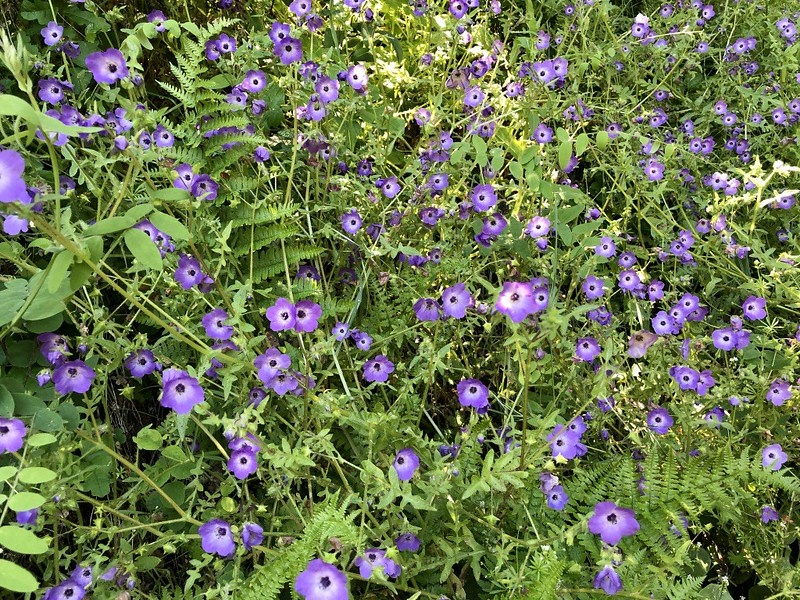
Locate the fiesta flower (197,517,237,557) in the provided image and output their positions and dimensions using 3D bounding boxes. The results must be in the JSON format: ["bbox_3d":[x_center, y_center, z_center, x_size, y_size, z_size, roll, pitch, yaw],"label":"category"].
[{"bbox_3d":[-0.715,0.937,2.776,0.145,0.169,0.103,16,45,-10],"label":"fiesta flower"}]

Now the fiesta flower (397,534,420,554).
[{"bbox_3d":[0.036,1.011,2.966,0.074,0.043,0.089,-4,88,-12],"label":"fiesta flower"}]

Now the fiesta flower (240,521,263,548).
[{"bbox_3d":[-0.583,0.939,2.803,0.091,0.141,0.087,5,48,-18],"label":"fiesta flower"}]

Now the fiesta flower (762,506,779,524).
[{"bbox_3d":[1.731,1.011,3.316,0.069,0.090,0.041,-17,28,0],"label":"fiesta flower"}]

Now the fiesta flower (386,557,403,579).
[{"bbox_3d":[-0.024,1.020,2.711,0.071,0.099,0.038,-15,26,-16],"label":"fiesta flower"}]

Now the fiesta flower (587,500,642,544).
[{"bbox_3d":[0.791,0.808,2.663,0.188,0.205,0.115,-14,89,7],"label":"fiesta flower"}]
